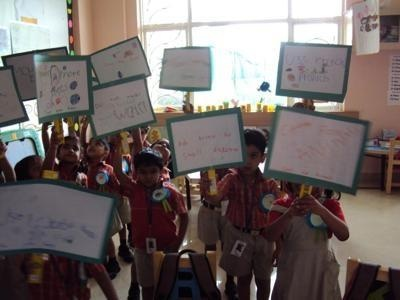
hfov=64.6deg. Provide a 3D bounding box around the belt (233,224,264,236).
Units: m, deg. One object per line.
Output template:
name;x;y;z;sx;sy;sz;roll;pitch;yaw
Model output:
belt;0.262;0.445;1.723;0.158;0.047;0.023;3;15;17

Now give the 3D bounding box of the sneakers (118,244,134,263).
sneakers;-0.625;0.876;2.695;0.158;0.168;0.085;1;8;19

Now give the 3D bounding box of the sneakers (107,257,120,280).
sneakers;-0.668;0.907;2.422;0.103;0.129;0.167;-5;15;-9
